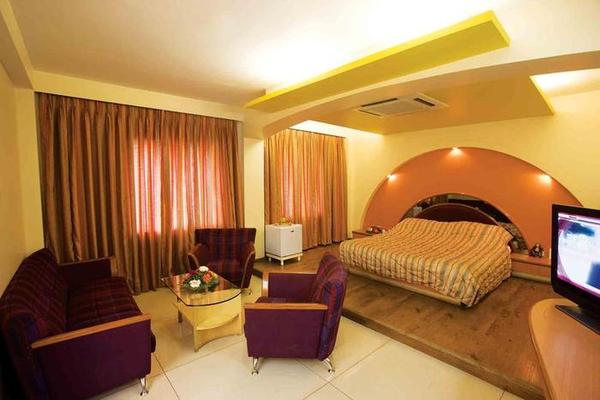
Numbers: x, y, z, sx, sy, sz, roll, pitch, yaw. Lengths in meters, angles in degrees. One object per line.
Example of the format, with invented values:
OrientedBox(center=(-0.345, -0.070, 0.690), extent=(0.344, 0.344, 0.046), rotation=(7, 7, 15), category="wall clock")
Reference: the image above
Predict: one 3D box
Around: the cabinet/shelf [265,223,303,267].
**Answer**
OrientedBox(center=(-0.383, 0.820, 7.844), extent=(0.712, 0.983, 0.934), rotation=(-2, -2, 45), category="cabinet/shelf")

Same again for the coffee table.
OrientedBox(center=(-1.314, 1.142, 5.360), extent=(0.815, 0.759, 1.587), rotation=(-2, 5, -39), category="coffee table")

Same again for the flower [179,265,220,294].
OrientedBox(center=(-1.370, 1.114, 5.436), extent=(0.368, 0.166, 0.368), rotation=(1, 6, -10), category="flower")

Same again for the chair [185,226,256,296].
OrientedBox(center=(-1.319, 1.052, 6.699), extent=(1.176, 1.125, 0.962), rotation=(1, -3, -11), category="chair")

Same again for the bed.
OrientedBox(center=(2.226, 0.947, 6.822), extent=(2.267, 0.923, 1.962), rotation=(4, 9, 42), category="bed")

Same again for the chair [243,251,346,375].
OrientedBox(center=(-0.034, 1.422, 5.068), extent=(1.219, 1.285, 0.879), rotation=(-2, 7, 2), category="chair")

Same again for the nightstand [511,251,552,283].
OrientedBox(center=(3.886, 1.152, 6.596), extent=(0.554, 0.380, 0.368), rotation=(2, 9, 34), category="nightstand")
